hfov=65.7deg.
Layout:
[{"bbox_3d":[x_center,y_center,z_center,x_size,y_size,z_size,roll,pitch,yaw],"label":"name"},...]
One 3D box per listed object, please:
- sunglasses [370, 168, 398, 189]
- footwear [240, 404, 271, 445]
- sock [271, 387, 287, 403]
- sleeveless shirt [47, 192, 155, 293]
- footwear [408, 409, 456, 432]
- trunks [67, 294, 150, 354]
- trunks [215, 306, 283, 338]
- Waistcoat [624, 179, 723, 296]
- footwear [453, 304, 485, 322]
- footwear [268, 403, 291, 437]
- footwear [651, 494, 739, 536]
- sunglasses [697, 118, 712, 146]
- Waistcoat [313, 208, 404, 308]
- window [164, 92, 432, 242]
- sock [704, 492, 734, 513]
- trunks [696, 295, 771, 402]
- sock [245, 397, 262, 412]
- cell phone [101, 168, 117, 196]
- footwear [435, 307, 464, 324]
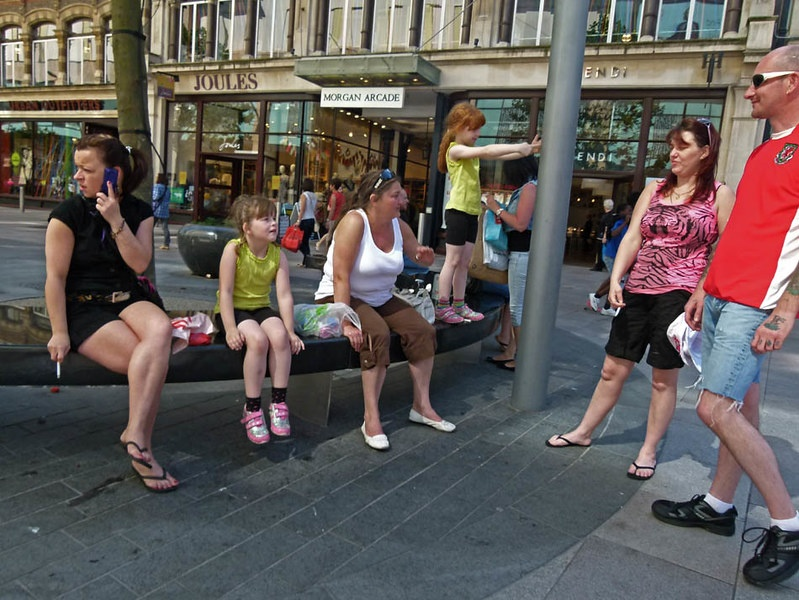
[{"bbox_3d":[-0.108,-0.850,4.323,0.056,0.152,0.143,47,21,-5],"label":"sunglasses"},{"bbox_3d":[-0.896,0.774,3.854,0.141,0.111,0.274,-4,34,-30],"label":"footwear"},{"bbox_3d":[-0.768,0.608,3.948,0.089,0.102,0.106,1,0,-8],"label":"sock"},{"bbox_3d":[-1.764,-0.328,3.694,0.639,0.601,0.340,-8,26,-40],"label":"sleeveless shirt"},{"bbox_3d":[0.242,0.892,4.530,0.366,0.115,0.130,10,9,25],"label":"footwear"},{"bbox_3d":[-1.683,0.133,3.544,0.392,0.273,0.220,-5,16,-27],"label":"trunks"},{"bbox_3d":[-0.968,0.123,3.993,0.392,0.117,0.211,-5,20,-22],"label":"trunks"},{"bbox_3d":[1.713,-0.371,3.821,0.435,0.785,0.592,2,12,-28],"label":"Waistcoat"},{"bbox_3d":[0.602,0.115,5.423,0.305,0.120,0.119,4,11,-13],"label":"footwear"},{"bbox_3d":[-0.773,0.746,3.972,0.121,0.131,0.308,2,4,-23],"label":"footwear"},{"bbox_3d":[1.664,1.218,3.562,0.456,0.197,0.199,12,-6,18],"label":"footwear"},{"bbox_3d":[1.871,-1.015,3.767,0.049,0.165,0.165,-2,14,11],"label":"sunglasses"},{"bbox_3d":[-0.271,-0.337,4.569,0.652,0.724,0.600,1,11,-38],"label":"Waistcoat"},{"bbox_3d":[-4.366,-5.363,22.583,2.124,3.870,7.656,20,22,36],"label":"window"},{"bbox_3d":[1.767,1.130,3.451,0.078,0.062,0.154,-14,42,-45],"label":"sock"},{"bbox_3d":[1.727,0.241,3.232,0.299,0.476,0.390,9,16,26],"label":"trunks"},{"bbox_3d":[-0.910,0.651,3.871,0.080,0.093,0.099,1,0,-2],"label":"sock"},{"bbox_3d":[-1.629,-0.665,3.493,0.094,0.146,0.144,-7,17,-30],"label":"cell phone"},{"bbox_3d":[0.407,0.136,5.190,0.272,0.108,0.107,12,11,21],"label":"footwear"}]
